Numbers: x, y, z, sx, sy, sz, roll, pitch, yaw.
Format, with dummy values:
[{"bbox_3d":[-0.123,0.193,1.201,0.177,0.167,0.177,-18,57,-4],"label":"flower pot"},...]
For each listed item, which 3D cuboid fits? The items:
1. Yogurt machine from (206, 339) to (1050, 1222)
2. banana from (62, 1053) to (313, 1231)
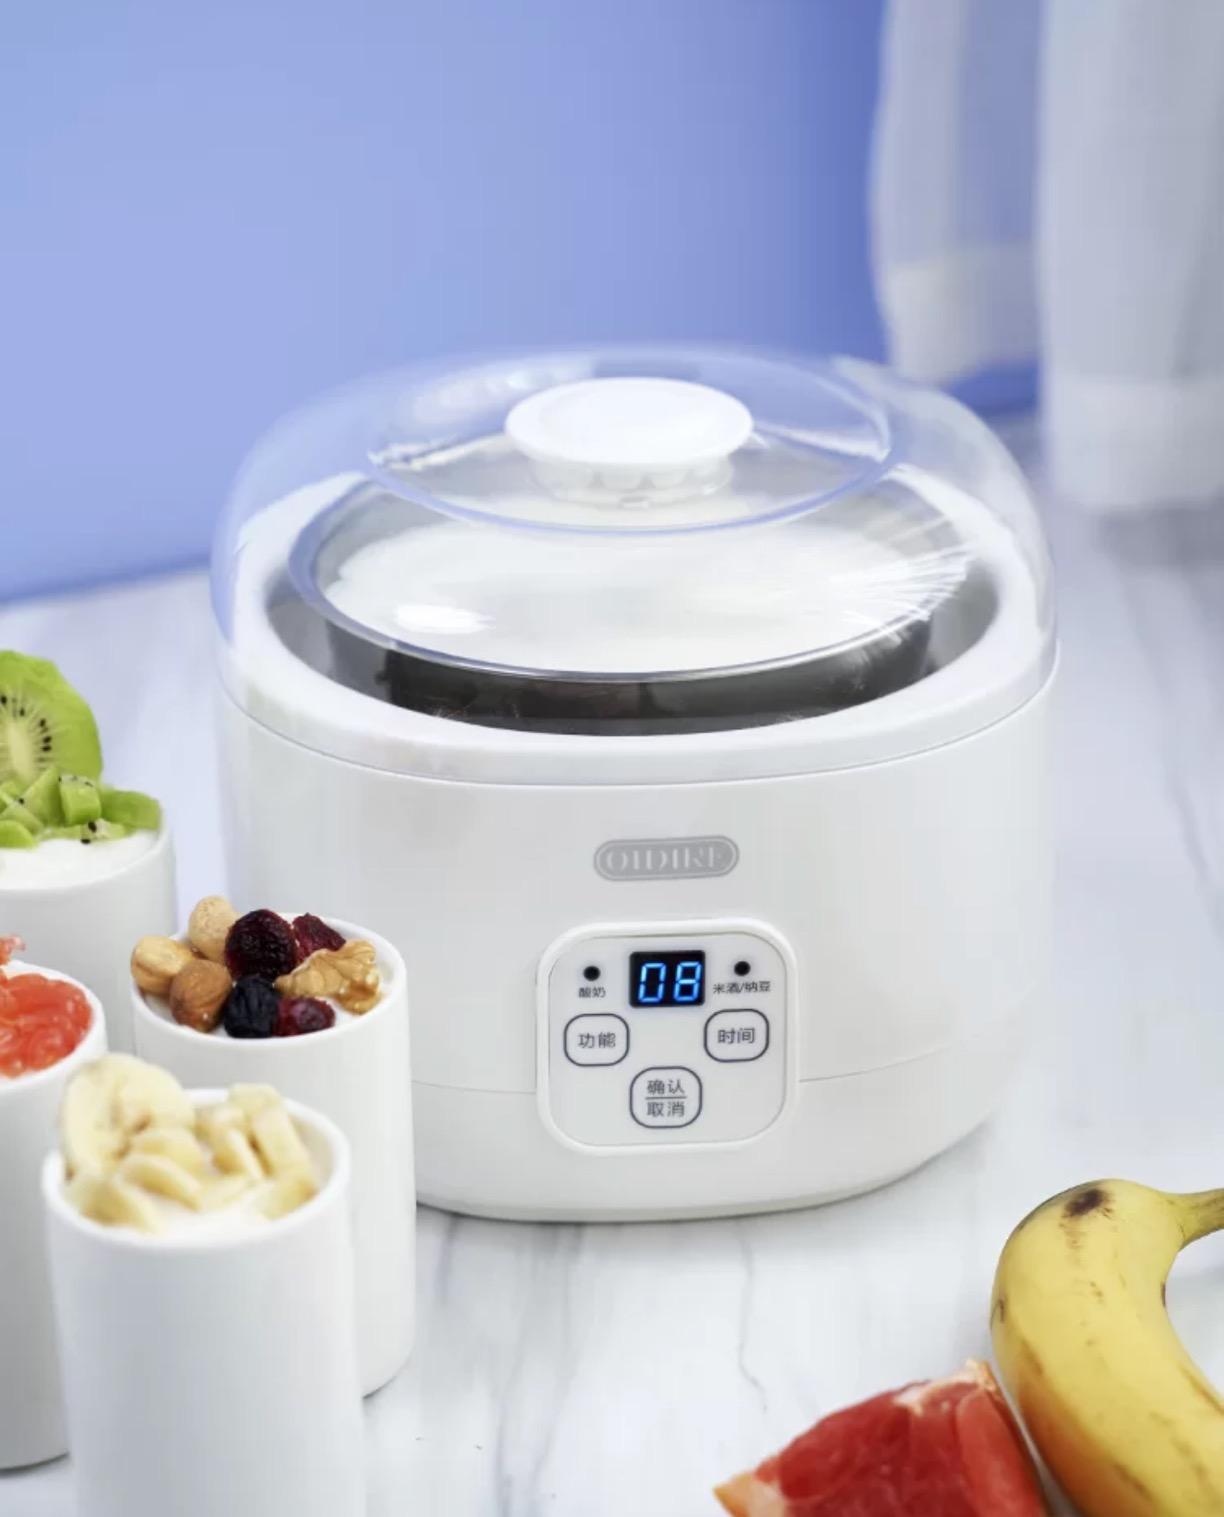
[{"bbox_3d":[0.017,0.009,0.834,0.390,0.287,0.358,-1,29,-1],"label":"Yogurt machine"},{"bbox_3d":[-0.114,0.097,0.474,0.050,0.021,0.053,12,-1,-8],"label":"banana"}]
